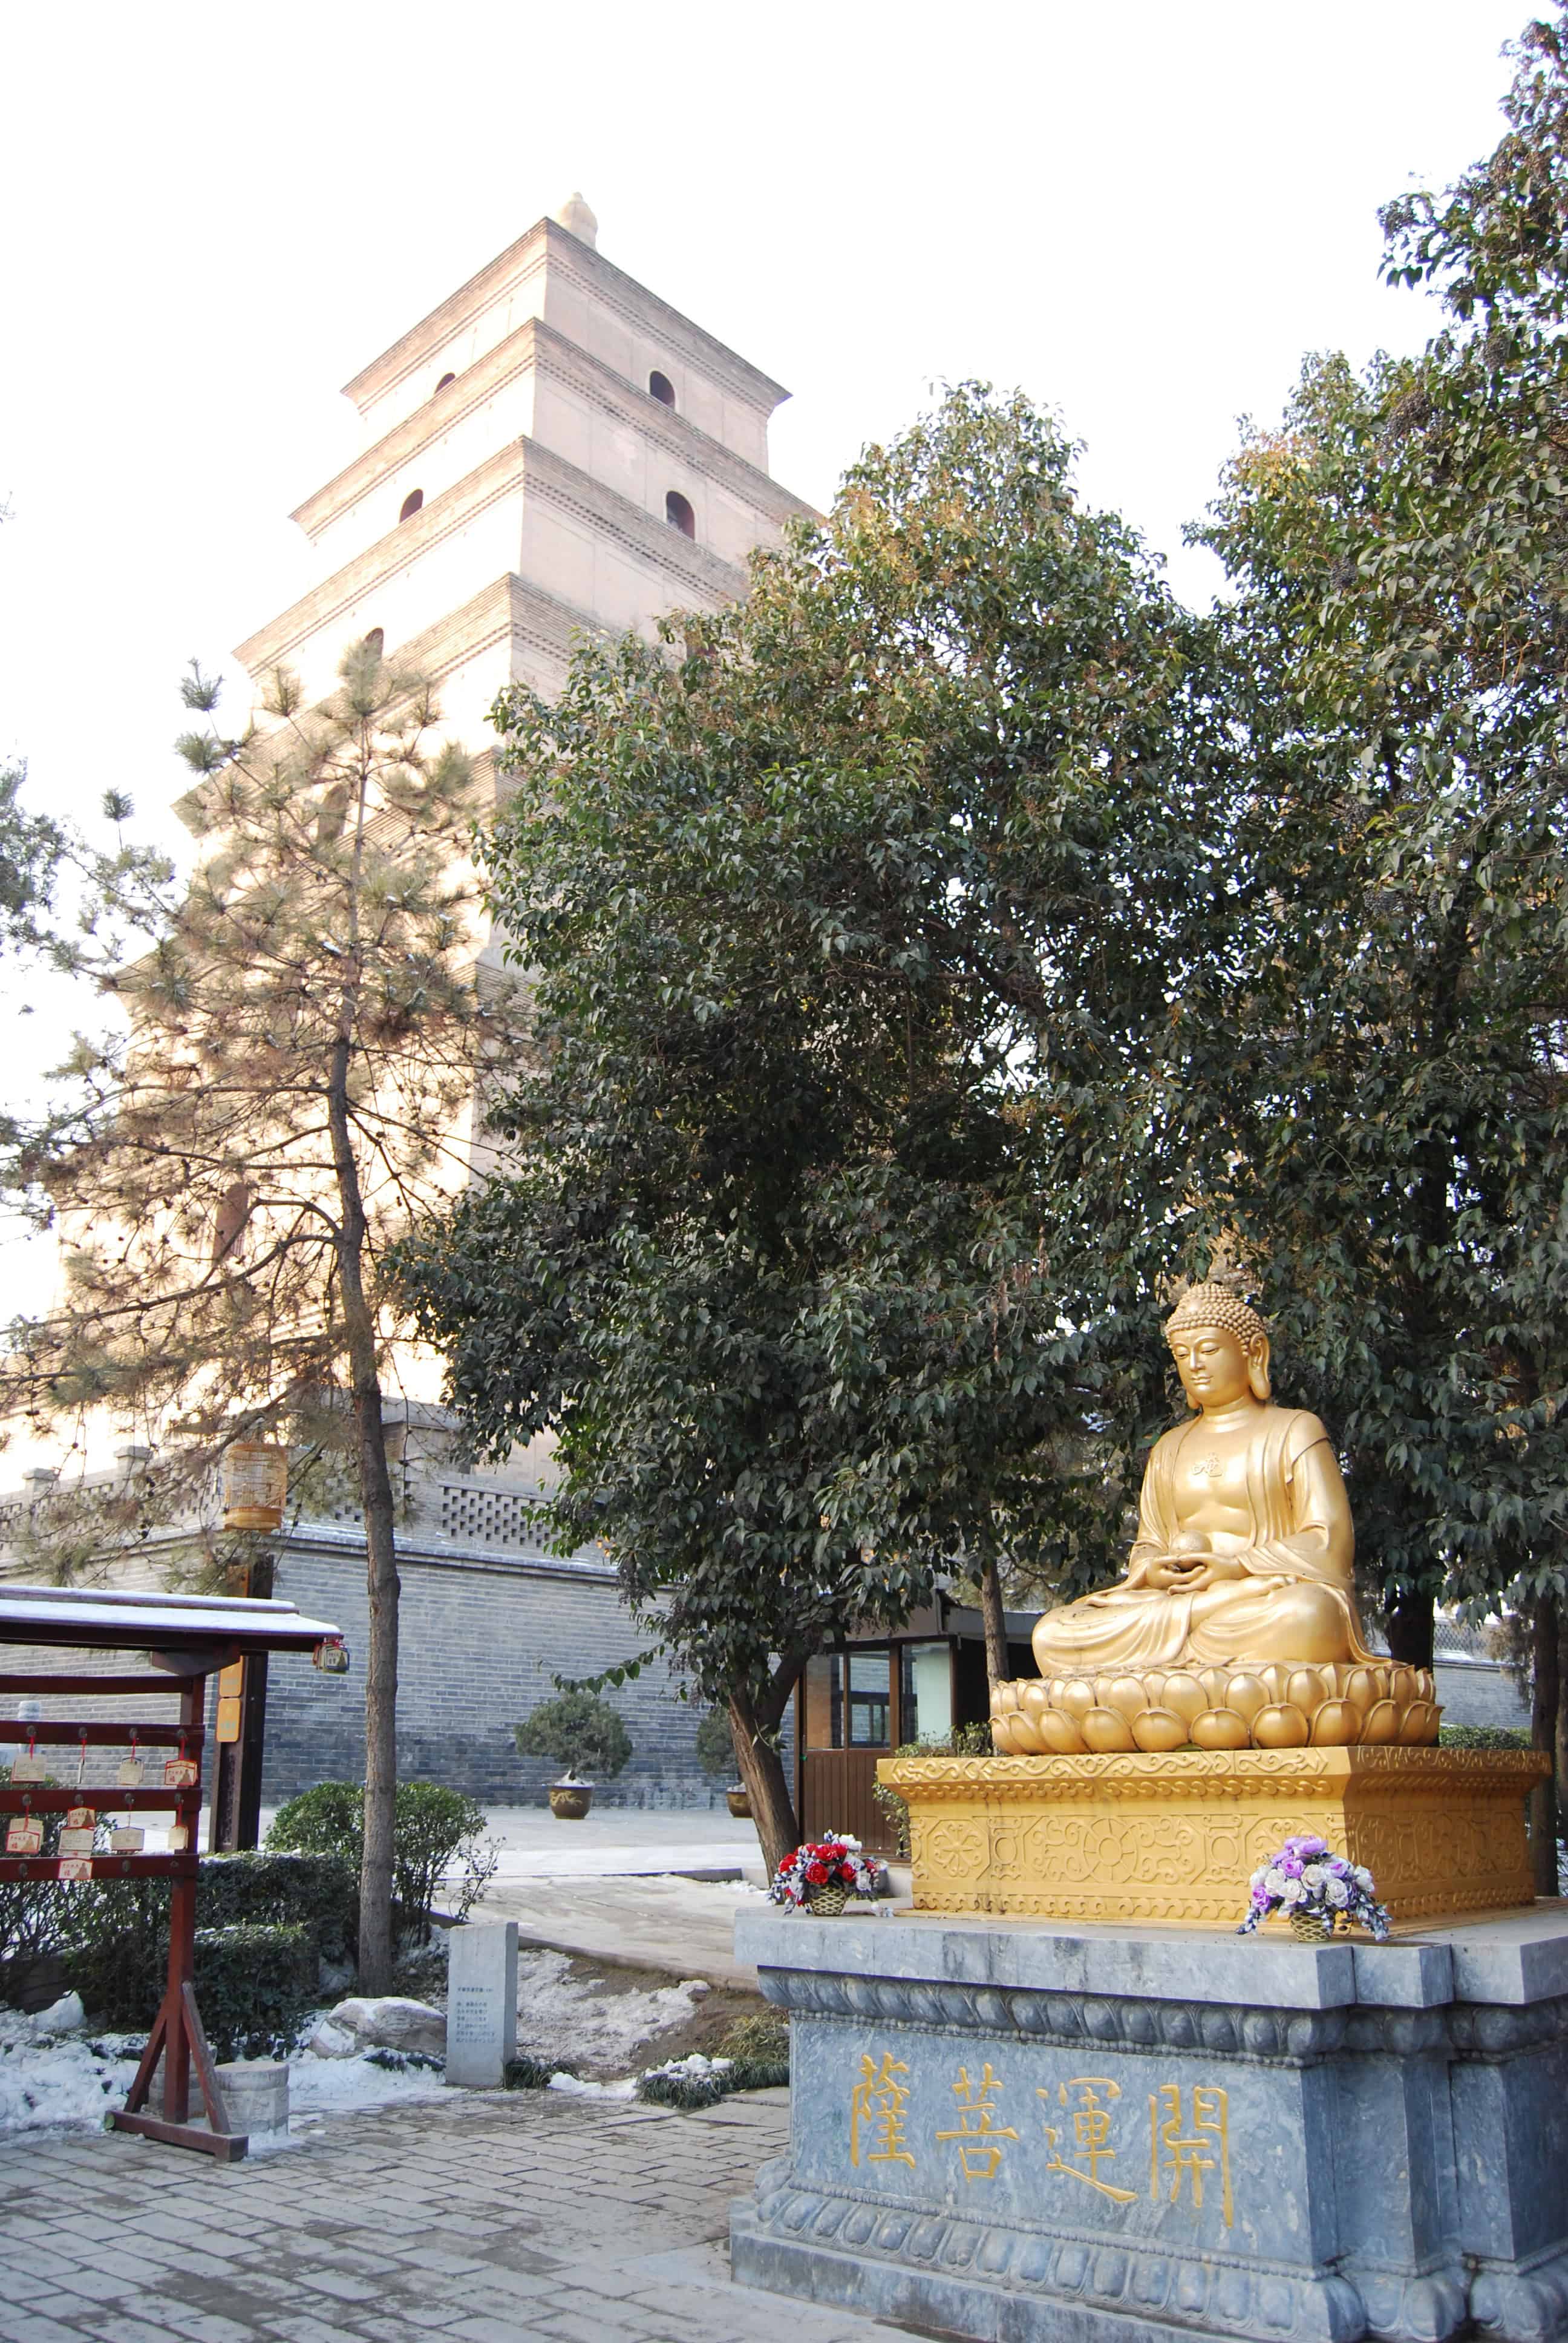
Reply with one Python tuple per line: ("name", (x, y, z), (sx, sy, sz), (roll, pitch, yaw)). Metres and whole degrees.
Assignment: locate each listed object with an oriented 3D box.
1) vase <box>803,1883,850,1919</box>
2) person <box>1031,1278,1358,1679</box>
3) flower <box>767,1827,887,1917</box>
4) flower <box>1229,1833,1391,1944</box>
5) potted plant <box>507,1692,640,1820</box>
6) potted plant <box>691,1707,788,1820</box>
("vase", (0.128, 1.991, 6.195), (0.137, 0.095, 0.149), (13, -28, -25))
("person", (1.089, 0.767, 6.007), (0.765, 1.111, 0.995), (-5, -12, 10))
("flower", (0.117, 1.951, 6.267), (0.267, 0.203, 0.379), (-3, -12, 5))
("flower", (1.100, 1.490, 4.725), (0.248, 0.164, 0.239), (7, -21, -11))
("potted plant", (-1.623, 4.404, 17.169), (0.810, 0.947, 1.120), (-1, -12, -8))
("potted plant", (-0.445, 4.914, 18.901), (0.662, 0.903, 1.518), (1, -13, -14))
